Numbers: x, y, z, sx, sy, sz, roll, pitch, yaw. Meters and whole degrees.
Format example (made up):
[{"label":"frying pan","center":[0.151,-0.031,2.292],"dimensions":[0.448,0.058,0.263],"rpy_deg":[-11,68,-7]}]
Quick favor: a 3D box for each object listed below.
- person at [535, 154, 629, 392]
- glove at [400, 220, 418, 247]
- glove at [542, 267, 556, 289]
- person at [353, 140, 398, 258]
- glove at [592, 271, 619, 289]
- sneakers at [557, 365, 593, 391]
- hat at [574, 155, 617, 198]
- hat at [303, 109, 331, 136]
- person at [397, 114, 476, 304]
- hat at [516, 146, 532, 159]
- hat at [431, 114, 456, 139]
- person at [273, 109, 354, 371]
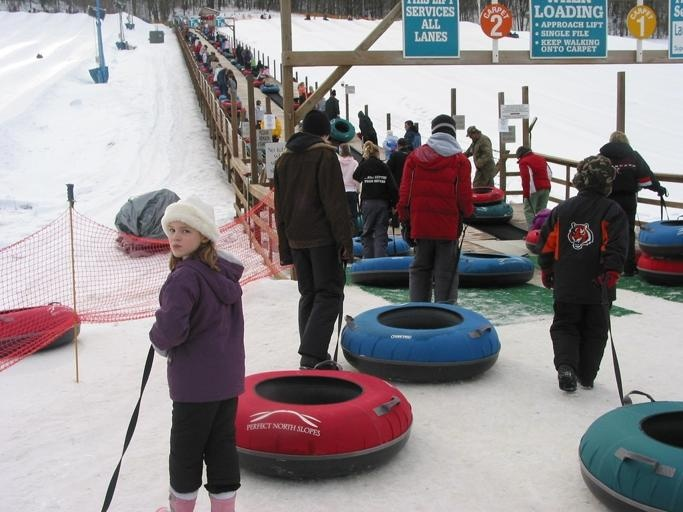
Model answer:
[{"label":"person","center":[1.938,0.144,6.089],"dimensions":[0.666,1.795,0.793],"rpy_deg":[0,16,2]},{"label":"glove","center":[0.697,-0.247,7.986],"dimensions":[0.089,0.234,0.168],"rpy_deg":[-11,-7,12]},{"label":"glove","center":[1.707,0.178,6.307],"dimensions":[0.087,0.166,0.070],"rpy_deg":[0,12,15]},{"label":"person","center":[0.504,-0.731,10.486],"dimensions":[0.697,1.645,0.292],"rpy_deg":[10,19,31]},{"label":"glove","center":[2.062,0.182,5.919],"dimensions":[0.120,0.057,0.153],"rpy_deg":[11,-4,-7]},{"label":"sneakers","center":[1.880,0.954,6.069],"dimensions":[0.146,0.182,0.406],"rpy_deg":[-8,-2,34]},{"label":"hat","center":[2.015,-0.643,6.046],"dimensions":[0.281,0.341,0.354],"rpy_deg":[-1,3,6]},{"label":"hat","center":[-0.202,-1.134,6.522],"dimensions":[0.225,0.195,0.217],"rpy_deg":[5,22,7]},{"label":"person","center":[0.928,-0.369,7.640],"dimensions":[0.741,1.685,0.511],"rpy_deg":[2,17,8]},{"label":"hat","center":[2.815,-1.586,11.746],"dimensions":[0.219,0.217,0.325],"rpy_deg":[4,17,15]},{"label":"hat","center":[1.035,-1.305,7.665],"dimensions":[0.257,0.256,0.196],"rpy_deg":[-1,1,-12]},{"label":"person","center":[-0.210,-0.081,6.355],"dimensions":[0.607,1.793,0.904],"rpy_deg":[-3,17,-8]}]
